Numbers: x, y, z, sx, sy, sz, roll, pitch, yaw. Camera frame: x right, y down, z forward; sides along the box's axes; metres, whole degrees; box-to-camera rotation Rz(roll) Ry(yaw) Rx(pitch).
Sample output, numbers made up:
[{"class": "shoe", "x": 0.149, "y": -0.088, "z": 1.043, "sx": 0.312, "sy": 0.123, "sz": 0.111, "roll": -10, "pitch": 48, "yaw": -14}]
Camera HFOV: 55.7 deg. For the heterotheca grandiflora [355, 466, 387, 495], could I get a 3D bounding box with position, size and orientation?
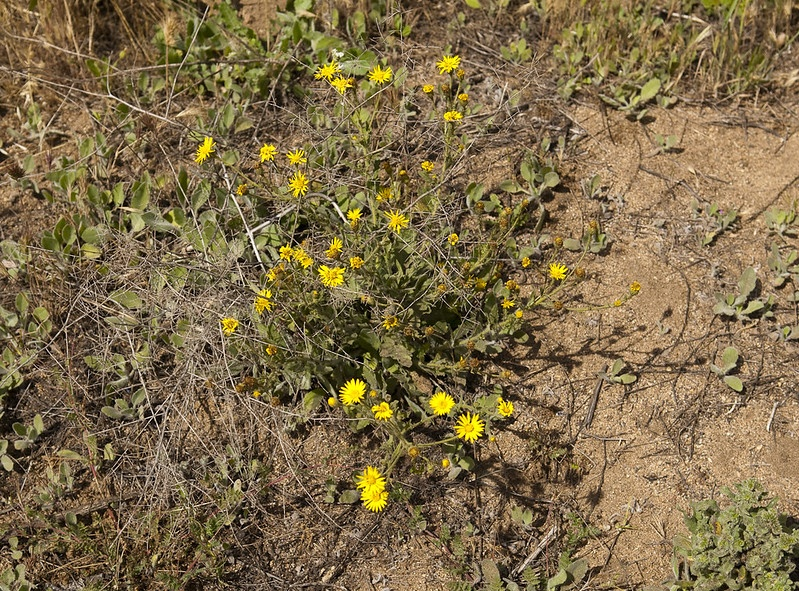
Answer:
[{"class": "heterotheca grandiflora", "x": -0.148, "y": 0.967, "z": 4.019, "sx": 0.145, "sy": 0.178, "sz": 0.122, "roll": -9, "pitch": 86, "yaw": -1}]
